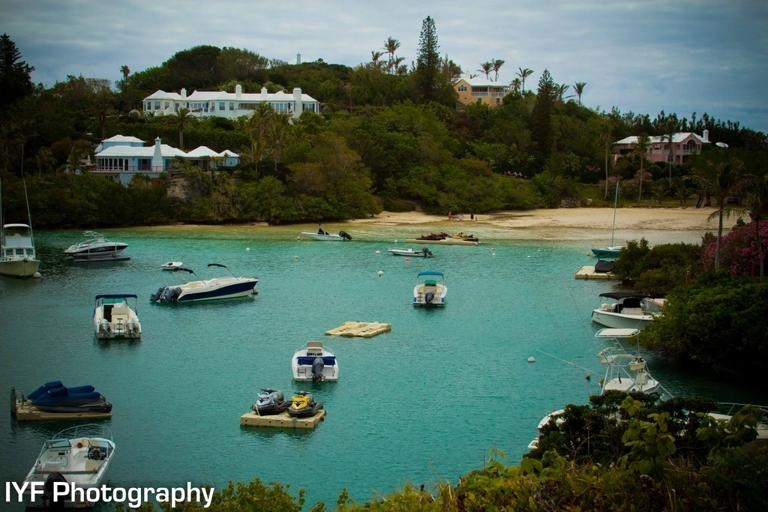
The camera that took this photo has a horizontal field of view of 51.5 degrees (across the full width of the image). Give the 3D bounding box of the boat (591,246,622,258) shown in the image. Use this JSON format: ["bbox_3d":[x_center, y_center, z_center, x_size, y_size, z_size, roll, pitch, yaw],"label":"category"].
[{"bbox_3d":[24.700,-0.384,88.231,4.014,1.192,1.315,5,5,37],"label":"boat"}]

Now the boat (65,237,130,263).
[{"bbox_3d":[-30.852,-0.472,84.883,4.813,1.737,3.226,-2,9,-17],"label":"boat"}]
